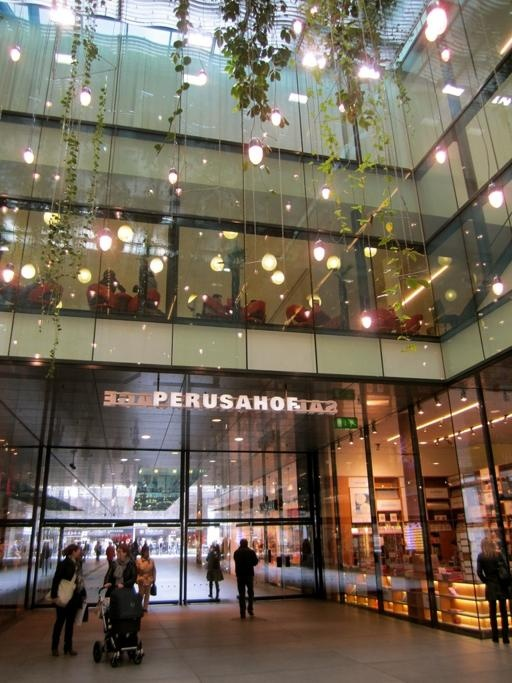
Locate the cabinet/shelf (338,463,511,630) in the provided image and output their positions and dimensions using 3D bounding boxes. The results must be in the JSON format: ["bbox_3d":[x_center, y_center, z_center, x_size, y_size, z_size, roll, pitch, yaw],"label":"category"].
[{"bbox_3d":[3.604,4.013,10.061,1.276,3.151,4.895,3,-19,-14],"label":"cabinet/shelf"}]

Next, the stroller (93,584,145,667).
[{"bbox_3d":[-1.750,3.538,6.191,0.488,0.869,0.546,18,-31,-41],"label":"stroller"}]

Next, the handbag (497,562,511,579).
[{"bbox_3d":[3.856,3.562,7.615,0.123,0.064,0.207,10,19,-10],"label":"handbag"}]

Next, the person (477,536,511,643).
[{"bbox_3d":[3.759,3.859,7.660,0.438,1.446,0.442,-4,-19,6],"label":"person"}]

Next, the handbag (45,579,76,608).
[{"bbox_3d":[-2.537,3.352,6.527,0.209,0.327,0.324,-18,-25,40],"label":"handbag"}]
